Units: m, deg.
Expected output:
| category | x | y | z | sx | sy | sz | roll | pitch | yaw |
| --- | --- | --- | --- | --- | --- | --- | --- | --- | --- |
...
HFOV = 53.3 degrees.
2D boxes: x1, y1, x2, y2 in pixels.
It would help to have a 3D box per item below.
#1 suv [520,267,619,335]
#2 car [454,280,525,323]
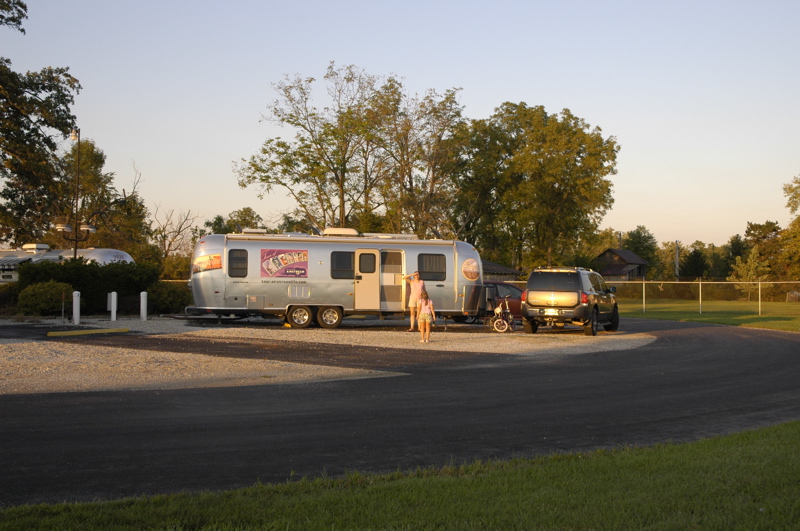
| category | x | y | z | sx | sy | sz | roll | pitch | yaw |
| --- | --- | --- | --- | --- | --- | --- | --- | --- | --- |
| suv | 6.361 | 1.131 | 28.926 | 1.971 | 1.592 | 3.705 | -1 | 0 | 27 |
| car | 3.938 | 1.416 | 32.511 | 2.550 | 1.272 | 1.787 | -1 | 0 | -35 |
